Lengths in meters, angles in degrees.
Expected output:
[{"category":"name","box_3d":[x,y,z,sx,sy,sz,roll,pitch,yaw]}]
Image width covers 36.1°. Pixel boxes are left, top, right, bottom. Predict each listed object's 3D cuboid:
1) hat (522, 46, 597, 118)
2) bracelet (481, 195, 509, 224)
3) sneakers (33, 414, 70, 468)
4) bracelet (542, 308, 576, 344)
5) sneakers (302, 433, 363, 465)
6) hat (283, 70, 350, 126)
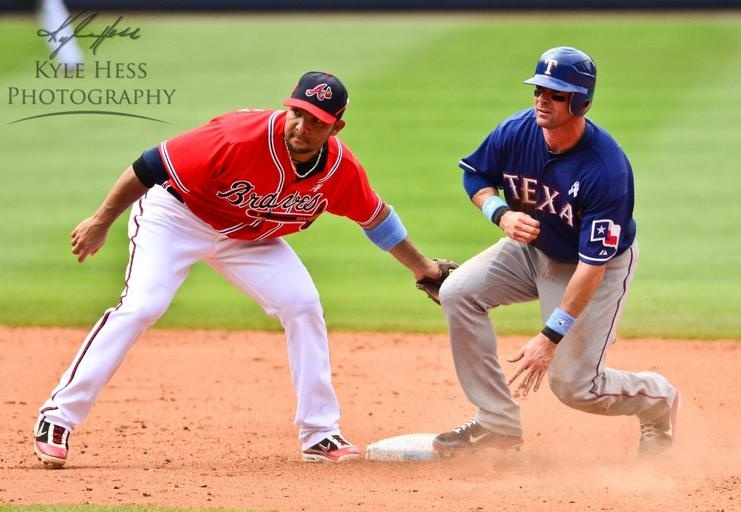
[{"category":"hat","box_3d":[1.595,-1.429,9.275,0.662,0.435,0.541,-22,33,-40]},{"category":"bracelet","box_3d":[1.041,-0.390,9.522,0.252,0.185,0.260,-3,-5,-11]},{"category":"sneakers","box_3d":[-2.648,1.554,9.416,0.282,0.440,0.203,-1,17,-8]},{"category":"bracelet","box_3d":[1.535,0.572,9.379,0.299,0.249,0.317,-40,-9,6]},{"category":"sneakers","box_3d":[-0.328,1.648,9.627,0.512,0.185,0.201,-2,-2,6]},{"category":"hat","box_3d":[-0.399,-1.319,9.377,0.431,0.267,0.529,26,18,10]}]
